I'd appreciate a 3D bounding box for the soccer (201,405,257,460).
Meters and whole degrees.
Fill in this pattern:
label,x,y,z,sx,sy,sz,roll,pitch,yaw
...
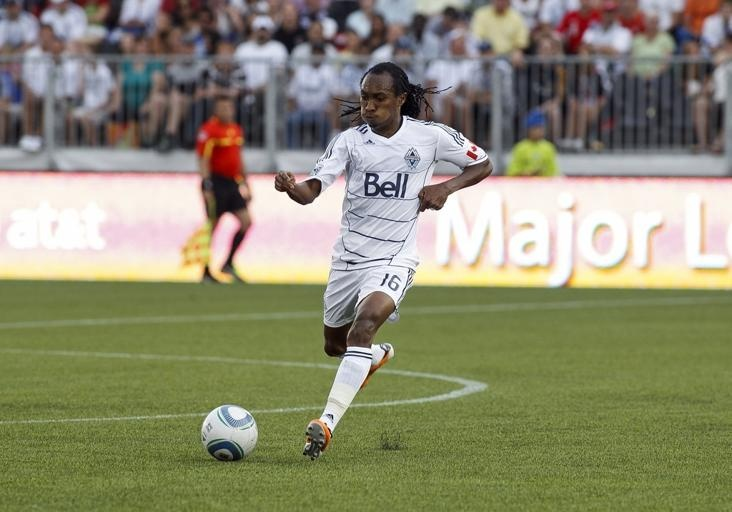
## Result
label,x,y,z,sx,sy,sz,roll,pitch,yaw
soccer,-1.111,1.477,11.427,0.433,0.438,0.433,9,-30,-2
